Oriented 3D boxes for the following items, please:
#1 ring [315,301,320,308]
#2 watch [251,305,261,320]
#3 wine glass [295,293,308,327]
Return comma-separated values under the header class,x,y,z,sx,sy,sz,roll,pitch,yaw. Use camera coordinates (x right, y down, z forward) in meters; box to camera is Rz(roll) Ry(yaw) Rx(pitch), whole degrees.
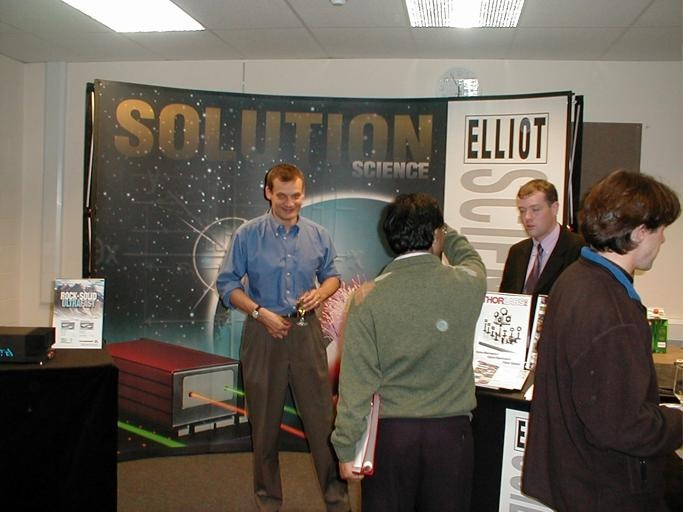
class,x,y,z,sx,sy,sz,roll,pitch,yaw
ring,-0.146,0.313,3.530,0.036,0.011,0.025,-47,14,-12
watch,-0.528,0.358,3.431,0.049,0.087,0.077,21,-7,-30
wine glass,-0.246,0.353,3.476,0.060,0.187,0.069,1,5,-4
